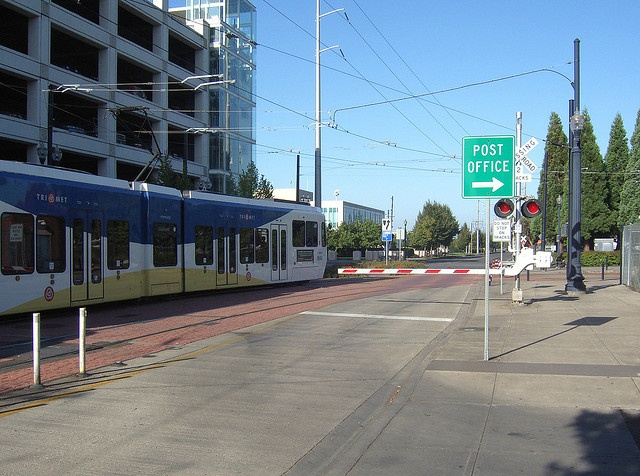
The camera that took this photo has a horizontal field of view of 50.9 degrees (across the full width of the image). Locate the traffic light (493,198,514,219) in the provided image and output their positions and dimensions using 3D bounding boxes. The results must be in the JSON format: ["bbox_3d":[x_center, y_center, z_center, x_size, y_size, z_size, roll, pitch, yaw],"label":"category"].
[{"bbox_3d":[4.363,-0.700,16.029,0.416,0.491,1.408,1,6,14],"label":"traffic light"}]
